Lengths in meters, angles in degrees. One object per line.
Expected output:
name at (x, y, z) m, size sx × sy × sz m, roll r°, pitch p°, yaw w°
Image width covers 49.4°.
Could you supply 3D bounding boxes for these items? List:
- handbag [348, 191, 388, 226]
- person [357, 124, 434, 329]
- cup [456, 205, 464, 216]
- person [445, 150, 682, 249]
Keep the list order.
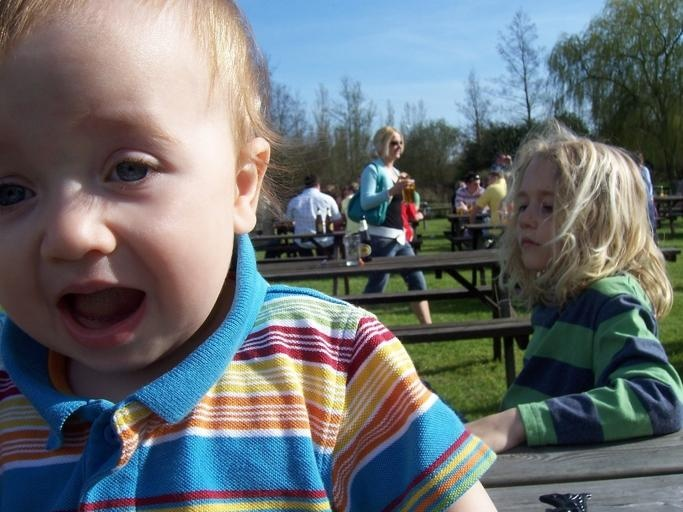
handbag at (0.196, -0.347, 5.359) m, size 0.196 × 0.121 × 0.236 m, roll 2°, pitch 53°, yaw 30°
person at (0.379, -0.163, 5.493) m, size 0.716 × 1.572 × 0.513 m, roll -1°, pitch 3°, yaw 24°
cup at (2.073, -0.795, 12.935) m, size 0.156 × 0.215 × 0.171 m, roll 0°, pitch 5°, yaw 0°
person at (1.729, -0.430, 5.676) m, size 2.089 × 0.630 × 0.936 m, roll -3°, pitch 5°, yaw -32°
